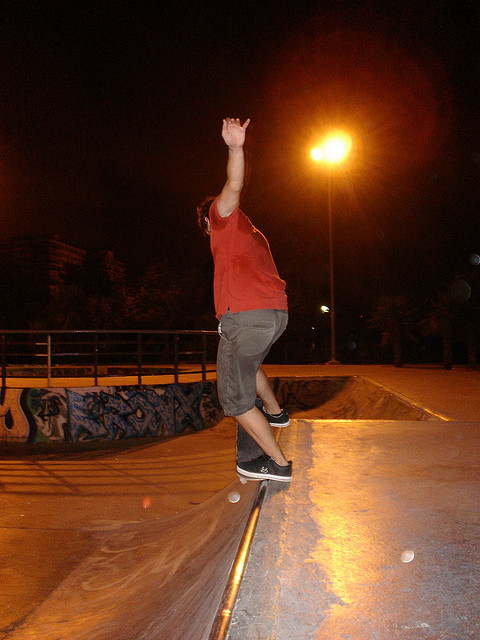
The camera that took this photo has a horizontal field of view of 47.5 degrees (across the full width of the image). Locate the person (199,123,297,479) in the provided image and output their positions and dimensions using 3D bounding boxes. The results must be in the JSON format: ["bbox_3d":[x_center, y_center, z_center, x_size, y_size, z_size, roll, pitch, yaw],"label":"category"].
[{"bbox_3d":[0.024,-0.039,2.591,0.453,1.511,1.133,-1,-2,2],"label":"person"}]
